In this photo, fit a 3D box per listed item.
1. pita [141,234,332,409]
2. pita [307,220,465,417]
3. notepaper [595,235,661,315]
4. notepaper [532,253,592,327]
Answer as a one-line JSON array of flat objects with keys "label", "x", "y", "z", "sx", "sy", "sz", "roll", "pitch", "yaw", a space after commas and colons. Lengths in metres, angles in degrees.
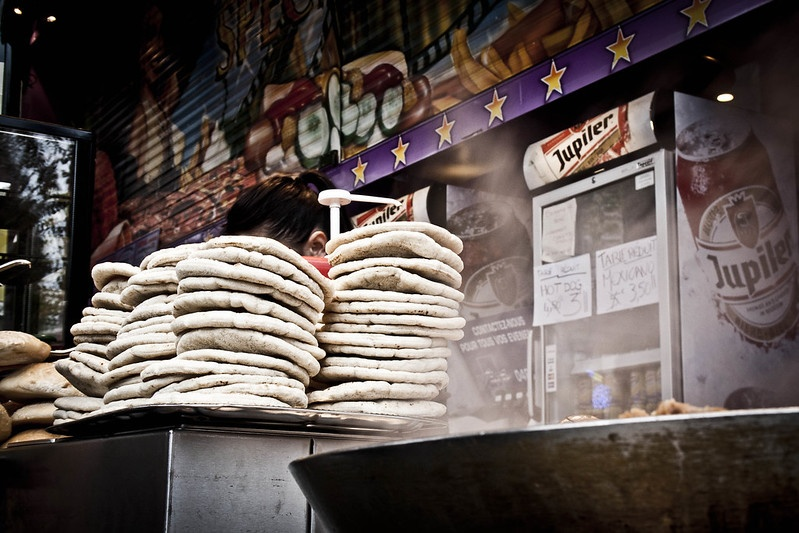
[{"label": "pita", "x": -0.613, "y": 0.238, "z": 3.511, "sx": 0.703, "sy": 0.627, "sz": 0.600, "roll": 3, "pitch": -7, "yaw": -9}, {"label": "pita", "x": -0.128, "y": 0.220, "z": 3.863, "sx": 0.769, "sy": 0.818, "sz": 0.769, "roll": 1, "pitch": -2, "yaw": -15}, {"label": "notepaper", "x": 1.222, "y": 0.050, "z": 4.711, "sx": 0.023, "sy": 0.358, "sz": 0.440, "roll": 9, "pitch": -18, "yaw": -33}, {"label": "notepaper", "x": 0.946, "y": 0.135, "z": 5.061, "sx": 0.004, "sy": 0.361, "sz": 0.447, "roll": 14, "pitch": -17, "yaw": -34}]
